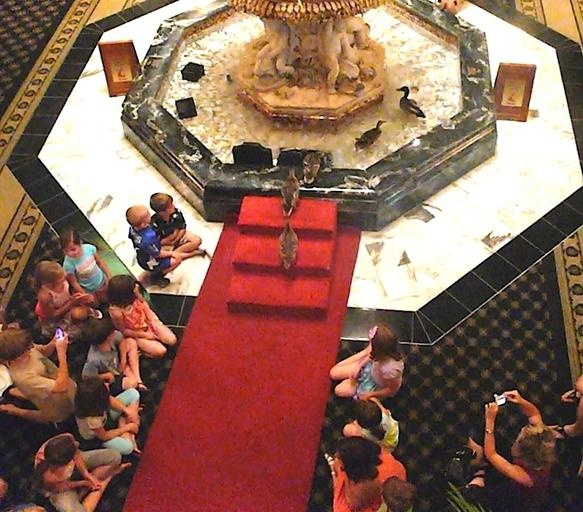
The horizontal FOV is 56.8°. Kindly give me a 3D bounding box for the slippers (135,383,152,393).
[{"bbox_3d":[-1.195,1.055,4.320,0.060,0.083,0.031,13,69,43],"label":"slippers"}]

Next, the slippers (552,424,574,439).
[{"bbox_3d":[1.934,1.270,3.893,0.106,0.027,0.100,-12,50,-1],"label":"slippers"}]

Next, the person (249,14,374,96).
[{"bbox_3d":[0.236,-2.207,5.847,1.088,0.431,0.908,-37,68,-15],"label":"person"}]

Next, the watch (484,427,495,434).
[{"bbox_3d":[1.371,1.220,3.767,0.035,0.018,0.050,3,15,9],"label":"watch"}]

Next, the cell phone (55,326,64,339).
[{"bbox_3d":[-1.817,0.601,4.225,0.062,0.054,0.106,-4,87,-7],"label":"cell phone"}]

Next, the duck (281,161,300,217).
[{"bbox_3d":[-0.003,-0.602,5.029,0.159,0.442,0.171,6,11,8],"label":"duck"}]

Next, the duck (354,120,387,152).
[{"bbox_3d":[0.825,-1.247,5.664,0.326,0.227,0.128,-41,61,-11],"label":"duck"}]

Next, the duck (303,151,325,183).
[{"bbox_3d":[0.201,-0.852,5.209,0.183,0.307,0.098,6,23,12],"label":"duck"}]
